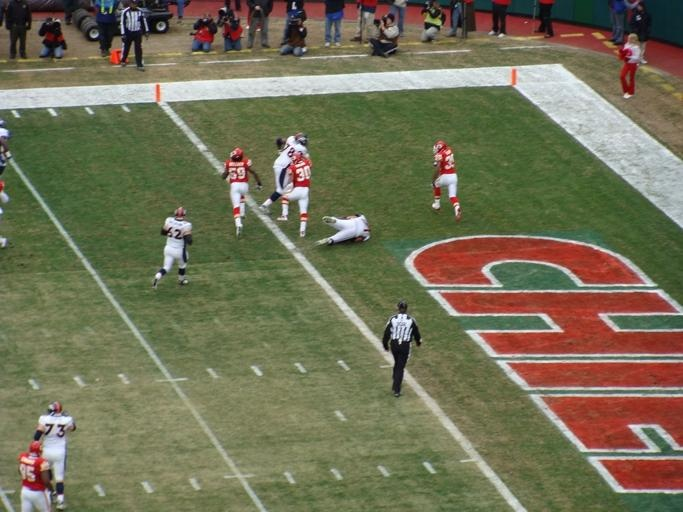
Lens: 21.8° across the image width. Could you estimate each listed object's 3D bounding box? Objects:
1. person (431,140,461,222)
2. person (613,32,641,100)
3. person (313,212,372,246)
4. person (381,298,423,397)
[{"bbox_3d":[2.888,-2.143,48.822,0.785,1.387,2.374,2,45,-12],"label":"person"},{"bbox_3d":[9.087,-5.840,54.862,0.853,1.996,0.886,1,31,-6],"label":"person"},{"bbox_3d":[0.092,-0.672,48.166,1.569,0.960,0.570,-5,24,-32],"label":"person"},{"bbox_3d":[1.443,2.263,43.325,0.875,2.322,0.884,12,21,7],"label":"person"}]
